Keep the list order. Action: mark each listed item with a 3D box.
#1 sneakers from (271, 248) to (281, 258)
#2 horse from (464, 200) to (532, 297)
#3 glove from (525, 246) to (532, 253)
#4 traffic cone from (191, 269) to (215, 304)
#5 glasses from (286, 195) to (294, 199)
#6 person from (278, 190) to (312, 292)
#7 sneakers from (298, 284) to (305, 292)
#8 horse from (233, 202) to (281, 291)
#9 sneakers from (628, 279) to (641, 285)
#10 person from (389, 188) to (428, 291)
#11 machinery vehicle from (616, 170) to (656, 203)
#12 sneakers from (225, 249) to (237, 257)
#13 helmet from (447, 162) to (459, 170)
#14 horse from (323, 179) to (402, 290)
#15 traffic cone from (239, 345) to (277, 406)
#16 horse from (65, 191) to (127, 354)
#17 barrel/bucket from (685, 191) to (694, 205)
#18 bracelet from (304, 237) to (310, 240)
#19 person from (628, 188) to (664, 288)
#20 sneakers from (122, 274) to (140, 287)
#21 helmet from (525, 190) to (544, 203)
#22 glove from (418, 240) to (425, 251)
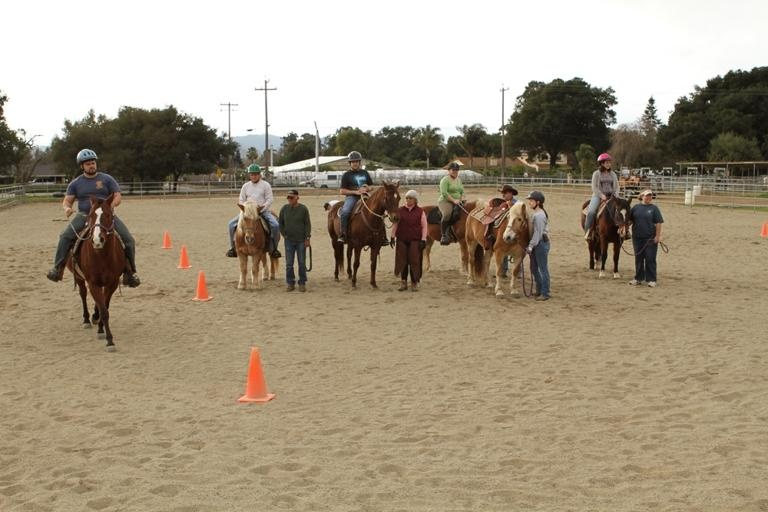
[{"bbox_3d":[-2.471,-0.079,19.646,0.217,0.232,0.168,4,-7,-6],"label":"sneakers"},{"bbox_3d":[2.492,-0.269,19.172,1.264,2.176,2.890,0,11,3],"label":"horse"},{"bbox_3d":[2.986,-0.133,17.805,0.109,0.116,0.126,3,10,-3],"label":"glove"},{"bbox_3d":[-3.913,0.656,18.639,0.574,0.796,0.574,3,4,9],"label":"traffic cone"},{"bbox_3d":[-2.076,-1.306,18.951,0.184,0.114,0.084,10,15,40],"label":"glasses"},{"bbox_3d":[-2.060,-0.436,19.615,0.677,2.252,1.574,-1,11,-7],"label":"person"},{"bbox_3d":[-1.820,0.695,19.188,0.076,0.164,0.170,3,22,4],"label":"sneakers"},{"bbox_3d":[-3.007,-0.223,19.836,0.783,1.921,2.952,0,1,-4],"label":"horse"},{"bbox_3d":[5.607,0.588,19.293,0.110,0.121,0.256,12,1,45],"label":"sneakers"},{"bbox_3d":[0.544,-0.301,18.958,0.721,2.137,0.392,-1,11,-4],"label":"person"},{"bbox_3d":[14.789,-4.330,50.815,1.800,0.757,1.949,-8,18,13],"label":"machinery vehicle"},{"bbox_3d":[-3.519,-0.071,19.698,0.290,0.299,0.181,-1,7,-12],"label":"sneakers"},{"bbox_3d":[1.610,-2.071,19.745,0.254,0.202,0.552,1,11,4],"label":"helmet"},{"bbox_3d":[-0.459,-0.522,19.515,0.932,2.472,2.657,-5,12,-22],"label":"horse"},{"bbox_3d":[-2.096,1.894,13.800,0.712,0.815,0.789,-4,3,-44],"label":"traffic cone"},{"bbox_3d":[-5.284,0.192,15.899,0.927,2.598,1.888,-7,13,-31],"label":"horse"},{"bbox_3d":[15.107,-2.891,42.466,0.388,0.650,1.093,4,12,19],"label":"barrel/bucket"},{"bbox_3d":[-1.709,-0.409,19.031,0.053,0.048,0.160,-1,14,2],"label":"bracelet"},{"bbox_3d":[5.876,-0.447,19.376,0.680,2.095,1.159,3,11,18],"label":"person"},{"bbox_3d":[-4.778,0.440,16.373,0.380,0.265,0.203,-5,2,4],"label":"sneakers"},{"bbox_3d":[3.217,-1.265,18.238,0.309,0.164,0.223,9,6,1],"label":"helmet"},{"bbox_3d":[0.832,-0.247,18.946,0.141,0.194,0.073,10,11,39],"label":"glove"}]
